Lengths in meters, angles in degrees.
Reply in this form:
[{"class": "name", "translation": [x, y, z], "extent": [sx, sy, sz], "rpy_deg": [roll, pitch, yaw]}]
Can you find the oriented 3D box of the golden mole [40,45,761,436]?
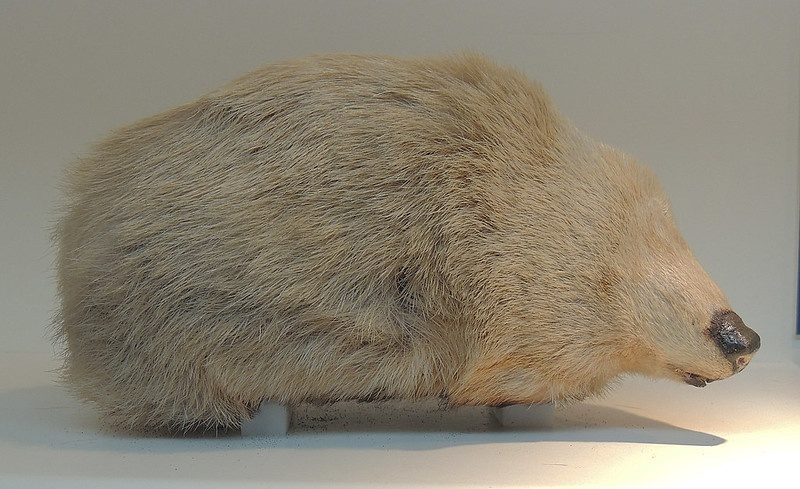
[{"class": "golden mole", "translation": [-0.061, 0.065, 2.786], "extent": [1.808, 0.769, 0.822], "rpy_deg": [5, -29, 6]}]
